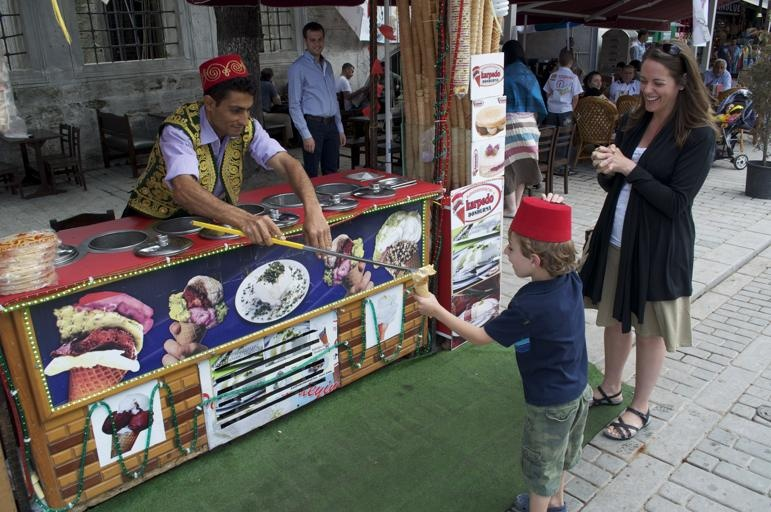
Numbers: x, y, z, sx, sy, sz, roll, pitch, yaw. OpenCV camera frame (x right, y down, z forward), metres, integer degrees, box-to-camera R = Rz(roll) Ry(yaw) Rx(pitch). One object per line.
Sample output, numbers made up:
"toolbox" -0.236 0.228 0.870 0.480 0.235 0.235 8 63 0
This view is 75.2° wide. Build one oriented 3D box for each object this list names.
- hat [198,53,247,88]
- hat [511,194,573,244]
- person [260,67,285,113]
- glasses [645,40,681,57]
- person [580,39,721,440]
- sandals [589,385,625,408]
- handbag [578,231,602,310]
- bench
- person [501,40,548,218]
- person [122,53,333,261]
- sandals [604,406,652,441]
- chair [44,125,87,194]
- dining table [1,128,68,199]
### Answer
"hat" -1.065 -1.262 3.362 0.239 0.116 0.238 -12 24 9
"hat" 0.891 -0.189 2.818 0.284 0.140 0.284 13 17 16
"person" -2.631 -3.961 11.898 0.806 1.024 0.683 -11 25 -24
"glasses" 1.832 -1.357 3.263 0.186 0.102 0.186 6 21 29
"person" 1.809 -0.041 3.533 0.754 2.721 0.757 7 23 31
"sandals" 1.767 1.128 4.017 0.285 0.106 0.119 -3 28 -3
"handbag" 1.550 0.072 3.789 0.146 0.561 0.183 -3 7 -43
"bench" -5.622 -2.268 10.336 1.056 0.895 0.966 6 -10 -5
"person" 2.045 -1.811 7.343 0.560 2.412 0.737 0 20 15
"person" -1.100 -0.700 3.471 1.378 1.294 0.866 11 25 38
"sandals" 1.825 1.246 3.801 0.197 0.181 0.452 19 14 35
"chair" -6.044 -1.857 9.323 0.791 1.049 0.772 13 24 17
"dining table" -6.538 -1.685 9.248 0.730 0.870 1.376 -16 29 -37
